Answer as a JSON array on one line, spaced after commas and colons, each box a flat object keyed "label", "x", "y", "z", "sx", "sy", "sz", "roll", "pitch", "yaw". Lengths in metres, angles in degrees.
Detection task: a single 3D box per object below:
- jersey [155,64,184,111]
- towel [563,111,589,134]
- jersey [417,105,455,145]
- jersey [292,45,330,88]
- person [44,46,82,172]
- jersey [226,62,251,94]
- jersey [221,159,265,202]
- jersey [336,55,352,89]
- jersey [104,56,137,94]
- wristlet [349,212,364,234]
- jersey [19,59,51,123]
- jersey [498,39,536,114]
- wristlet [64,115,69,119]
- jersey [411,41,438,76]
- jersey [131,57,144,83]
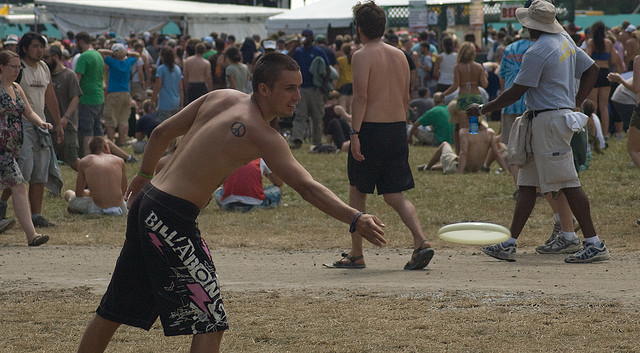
[{"label": "jersey", "x": -3.996, "y": -2.322, "z": 33.495, "sx": 0.531, "sy": 1.317, "sz": 0.601, "roll": -5, "pitch": 0, "yaw": -32}, {"label": "towel", "x": 5.434, "y": -1.171, "z": 26.281, "sx": 0.436, "sy": 0.158, "sz": 0.437, "roll": 28, "pitch": 34, "yaw": 18}, {"label": "jersey", "x": 3.193, "y": -1.372, "z": 33.652, "sx": 0.881, "sy": 1.052, "sz": 0.607, "roll": -1, "pitch": 8, "yaw": 3}, {"label": "jersey", "x": -0.281, "y": -3.072, "z": 34.134, "sx": 1.230, "sy": 1.066, "sz": 0.456, "roll": 3, "pitch": 12, "yaw": 19}, {"label": "person", "x": -6.080, "y": -1.574, "z": 29.693, "sx": 0.902, "sy": 2.936, "sz": 1.214, "roll": 1, "pitch": -1, "yaw": -17}, {"label": "jersey", "x": -2.294, "y": -2.723, "z": 34.553, "sx": 0.618, "sy": 0.821, "sz": 0.893, "roll": -2, "pitch": 8, "yaw": -4}, {"label": "jersey", "x": -1.822, "y": 0.134, "z": 29.291, "sx": 0.779, "sy": 1.100, "sz": 0.700, "roll": 1, "pitch": 2, "yaw": 24}, {"label": "jersey", "x": 0.703, "y": -2.958, "z": 35.686, "sx": 0.296, "sy": 0.926, "sz": 0.520, "roll": -5, "pitch": 9, "yaw": -24}, {"label": "jersey", "x": -5.431, "y": -2.756, "z": 33.646, "sx": 0.958, "sy": 1.020, "sz": 0.561, "roll": 5, "pitch": 10, "yaw": -18}, {"label": "wristlet", "x": 0.661, "y": 0.890, "z": 23.691, "sx": 0.093, "sy": 0.316, "sz": 0.341, "roll": 16, "pitch": 23, "yaw": 5}, {"label": "jersey", "x": -6.477, "y": -1.909, "z": 28.054, "sx": 0.501, "sy": 1.411, "sz": 0.527, "roll": 1, "pitch": -2, "yaw": -9}, {"label": "jersey", "x": 4.609, "y": -2.220, "z": 28.599, "sx": 0.630, "sy": 1.779, "sz": 0.771, "roll": 1, "pitch": 0, "yaw": -8}, {"label": "wristlet", "x": -6.000, "y": -1.393, "z": 29.295, "sx": 0.123, "sy": 0.029, "sz": 0.038, "roll": 34, "pitch": 39, "yaw": 13}, {"label": "jersey", "x": 3.150, "y": -3.486, "z": 37.395, "sx": 1.103, "sy": 1.023, "sz": 0.637, "roll": 9, "pitch": 21, "yaw": 29}, {"label": "jersey", "x": -5.291, "y": -3.096, "z": 36.025, "sx": 0.400, "sy": 0.711, "sz": 0.686, "roll": 6, "pitch": 9, "yaw": 18}]
